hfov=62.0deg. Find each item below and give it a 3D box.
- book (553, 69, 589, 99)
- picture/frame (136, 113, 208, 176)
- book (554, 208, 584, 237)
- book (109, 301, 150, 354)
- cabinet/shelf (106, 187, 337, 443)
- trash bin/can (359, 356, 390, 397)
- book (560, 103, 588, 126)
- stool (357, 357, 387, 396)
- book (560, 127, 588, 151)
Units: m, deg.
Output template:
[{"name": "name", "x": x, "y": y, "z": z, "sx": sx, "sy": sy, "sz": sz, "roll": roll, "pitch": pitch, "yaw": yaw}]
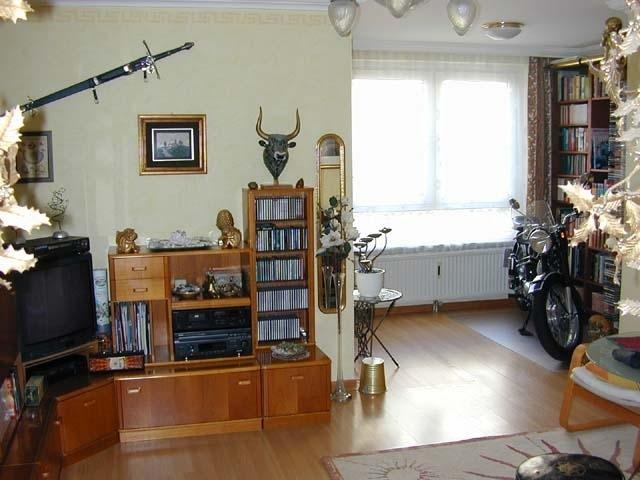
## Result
[{"name": "book", "x": 3.335, "y": -2.022, "z": 7.054, "sx": 0.353, "sy": 0.530, "sz": 0.504, "roll": 4, "pitch": 7, "yaw": 29}, {"name": "picture/frame", "x": -1.278, "y": -0.831, "z": 4.506, "sx": 0.469, "sy": 0.499, "sz": 0.037, "roll": 0, "pitch": 4, "yaw": -12}, {"name": "book", "x": 2.268, "y": -0.163, "z": 4.886, "sx": 0.119, "sy": 0.371, "sz": 0.375, "roll": 6, "pitch": 12, "yaw": 35}, {"name": "book", "x": -1.515, "y": 0.723, "z": 4.285, "sx": 0.289, "sy": 0.459, "sz": 0.084, "roll": -4, "pitch": 8, "yaw": -19}, {"name": "cabinet/shelf", "x": -0.866, "y": 0.638, "z": 4.356, "sx": 1.654, "sy": 2.078, "sz": 0.694, "roll": -2, "pitch": 4, "yaw": -18}, {"name": "trash bin/can", "x": 0.487, "y": 1.246, "z": 4.980, "sx": 0.257, "sy": 0.302, "sz": 0.268, "roll": -8, "pitch": 13, "yaw": -30}, {"name": "book", "x": 3.357, "y": -1.667, "z": 7.071, "sx": 0.237, "sy": 0.352, "sz": 0.338, "roll": -1, "pitch": 3, "yaw": -21}, {"name": "stool", "x": 0.473, "y": 1.239, "z": 4.881, "sx": 0.262, "sy": 0.302, "sz": 0.276, "roll": 0, "pitch": 2, "yaw": 5}, {"name": "book", "x": 3.397, "y": -1.343, "z": 7.151, "sx": 0.248, "sy": 0.383, "sz": 0.364, "roll": 2, "pitch": 6, "yaw": 15}]
